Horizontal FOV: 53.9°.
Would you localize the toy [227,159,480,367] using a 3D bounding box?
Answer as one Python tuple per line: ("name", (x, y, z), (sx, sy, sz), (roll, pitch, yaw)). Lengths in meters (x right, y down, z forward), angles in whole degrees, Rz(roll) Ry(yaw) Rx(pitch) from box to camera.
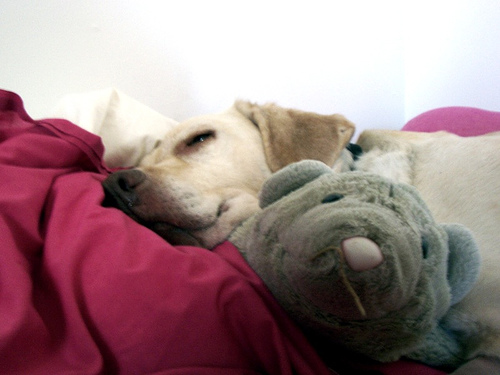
("toy", (0.277, 0.212, 1.249), (0.436, 0.279, 0.551), (28, -13, 7))
